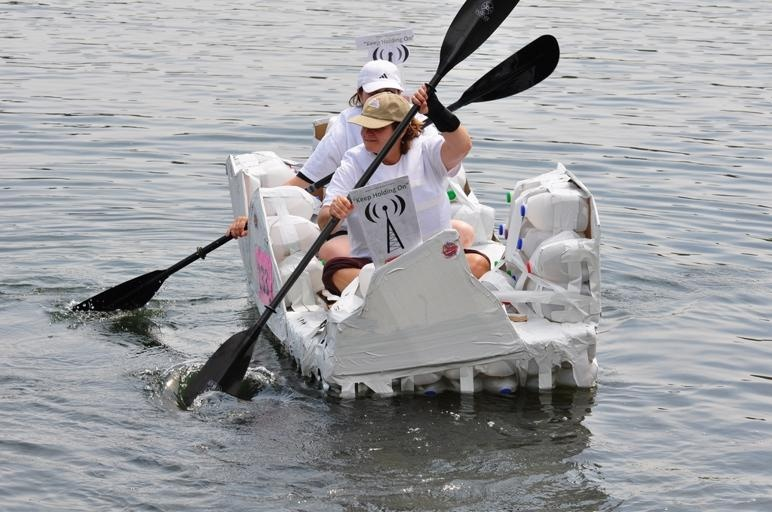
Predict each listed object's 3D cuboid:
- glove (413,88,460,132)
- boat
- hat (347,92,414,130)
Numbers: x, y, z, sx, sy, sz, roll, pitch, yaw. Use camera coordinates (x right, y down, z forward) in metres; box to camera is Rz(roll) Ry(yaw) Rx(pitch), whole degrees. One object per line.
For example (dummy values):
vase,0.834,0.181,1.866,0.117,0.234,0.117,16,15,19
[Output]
glove,0.369,-1.081,8.263,0.207,0.154,0.579,-31,41,-14
boat,0.172,0.057,8.771,2.484,0.907,2.844,-23,41,-27
hat,-0.060,-1.154,8.492,0.495,0.159,0.330,-30,58,-34
